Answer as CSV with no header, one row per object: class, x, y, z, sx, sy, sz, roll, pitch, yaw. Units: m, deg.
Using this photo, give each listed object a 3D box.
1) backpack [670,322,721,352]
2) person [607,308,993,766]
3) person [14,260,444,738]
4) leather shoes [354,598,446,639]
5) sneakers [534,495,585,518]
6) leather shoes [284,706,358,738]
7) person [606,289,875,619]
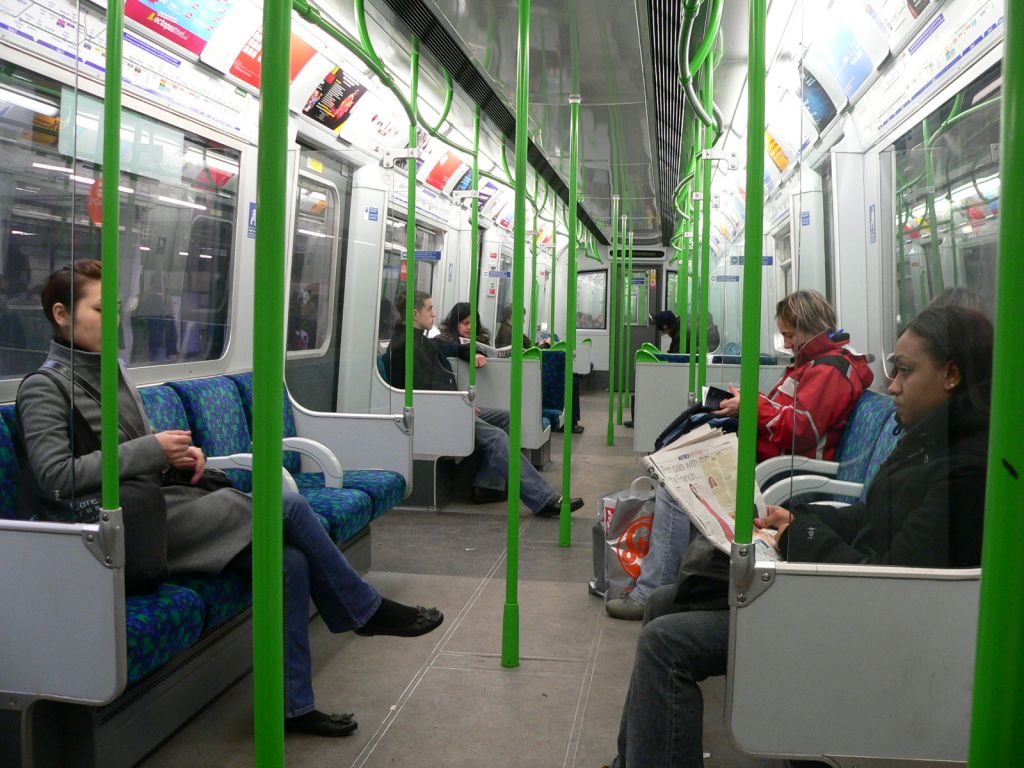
backpack,1.748,-0.442,7.351,0.276,0.143,0.413,0,48,1
person,0.773,0.468,2.091,0.840,1.378,0.514,4,5,33
person,-1.036,0.392,2.866,1.330,1.768,0.752,-5,-11,-5
leather shoes,-0.472,0.985,3.295,0.319,0.141,0.177,-3,6,-8
sneakers,0.330,0.935,5.871,0.465,0.212,0.169,0,-3,2
leather shoes,-0.691,1.249,2.836,0.263,0.119,0.107,-1,-2,-2
person,0.682,0.225,2.304,0.673,1.100,0.448,11,-12,14
